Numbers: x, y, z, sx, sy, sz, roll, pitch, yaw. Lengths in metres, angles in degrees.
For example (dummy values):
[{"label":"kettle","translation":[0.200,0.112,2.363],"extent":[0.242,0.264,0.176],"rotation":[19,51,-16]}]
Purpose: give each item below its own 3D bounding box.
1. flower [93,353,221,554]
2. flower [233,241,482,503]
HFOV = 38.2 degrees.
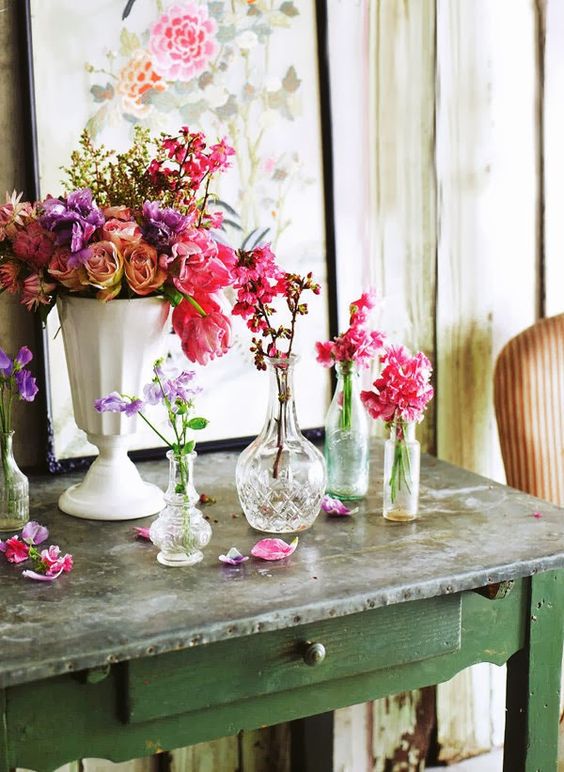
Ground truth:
[{"label":"flower","translation":[-0.149,0.088,0.883],"extent":[0.142,0.210,0.102],"rotation":[-1,6,-20]},{"label":"flower","translation":[0.011,-0.040,1.091],"extent":[0.270,0.284,0.156],"rotation":[1,9,-14]}]
